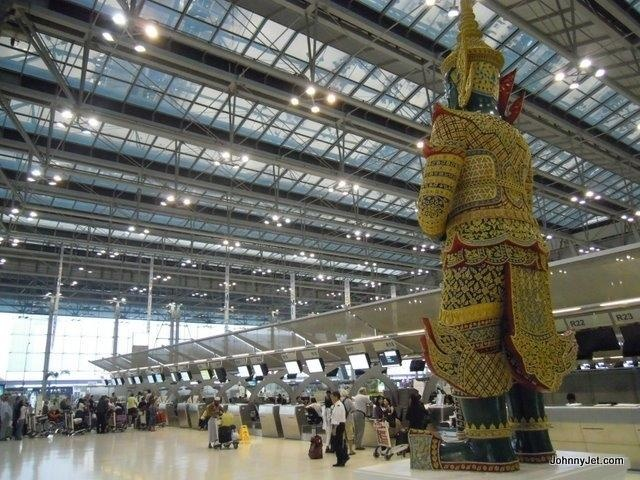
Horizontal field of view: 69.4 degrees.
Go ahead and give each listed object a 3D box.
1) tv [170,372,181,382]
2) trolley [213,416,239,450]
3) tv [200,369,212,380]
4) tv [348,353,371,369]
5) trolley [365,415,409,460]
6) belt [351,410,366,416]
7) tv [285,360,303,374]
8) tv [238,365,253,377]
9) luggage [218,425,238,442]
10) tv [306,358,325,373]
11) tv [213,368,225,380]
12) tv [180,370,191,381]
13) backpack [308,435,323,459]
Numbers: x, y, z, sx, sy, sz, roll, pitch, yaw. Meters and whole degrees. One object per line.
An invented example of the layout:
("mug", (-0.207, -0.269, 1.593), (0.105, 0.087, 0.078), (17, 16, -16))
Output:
("tv", (-8.983, 8.552, 28.761), (0.274, 0.678, 2.047), (7, -22, -26))
("trolley", (-3.166, 6.390, 15.379), (0.878, 1.027, 0.894), (-21, -30, 32))
("tv", (-6.162, 7.316, 25.075), (0.174, 0.553, 0.735), (-5, 5, -43))
("tv", (1.444, 4.132, 15.809), (0.815, 0.607, 0.217), (-13, 5, 44))
("trolley", (1.892, 5.024, 11.735), (1.143, 0.878, 0.660), (-21, -38, 27))
("belt", (1.140, 5.174, 13.890), (0.257, 0.100, 0.296), (12, 1, -12))
("tv", (-1.023, 5.118, 18.676), (0.234, 0.471, 0.653), (5, -19, -44))
("tv", (-3.528, 6.263, 22.164), (0.177, 0.554, 0.723), (-3, 3, -43))
("luggage", (-3.006, 6.412, 15.260), (0.596, 0.449, 0.482), (4, -13, -16))
("tv", (-0.176, 4.697, 17.296), (0.749, 0.542, 0.176), (-7, 0, 41))
("tv", (-5.153, 6.980, 24.132), (0.329, 0.785, 0.600), (-9, 11, 4))
("tv", (-7.953, 8.084, 27.867), (0.845, 0.622, 0.197), (1, 9, 32))
("backpack", (-0.124, 5.579, 12.449), (0.350, 0.580, 0.371), (-1, -22, -8))
